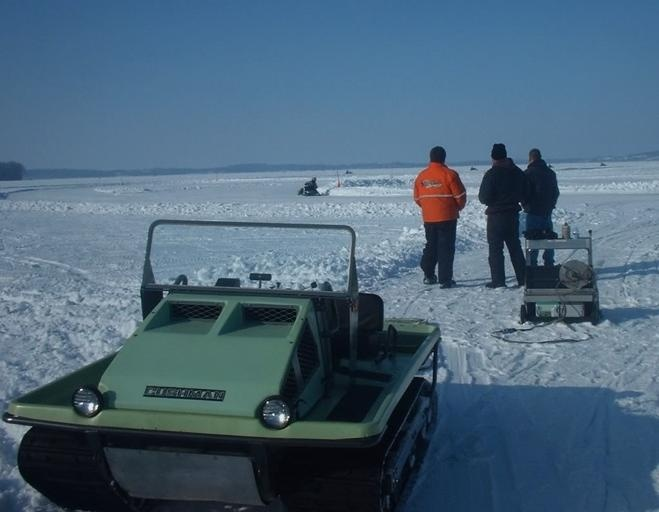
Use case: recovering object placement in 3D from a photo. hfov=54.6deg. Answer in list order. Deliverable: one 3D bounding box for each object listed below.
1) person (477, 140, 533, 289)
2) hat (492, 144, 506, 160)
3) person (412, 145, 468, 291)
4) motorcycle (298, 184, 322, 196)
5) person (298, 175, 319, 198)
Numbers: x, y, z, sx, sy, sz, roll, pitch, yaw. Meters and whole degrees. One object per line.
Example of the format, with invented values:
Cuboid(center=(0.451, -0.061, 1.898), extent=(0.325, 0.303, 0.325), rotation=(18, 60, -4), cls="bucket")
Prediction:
Cuboid(center=(2.761, -0.618, 10.209), extent=(0.764, 2.342, 0.464), rotation=(-2, 15, 1), cls="person")
Cuboid(center=(2.649, -1.628, 9.943), extent=(0.196, 0.249, 0.141), rotation=(7, 17, 30), cls="hat")
Cuboid(center=(1.825, -0.626, 10.551), extent=(0.803, 2.374, 0.795), rotation=(0, 15, 7), cls="person")
Cuboid(center=(-1.200, -3.903, 37.563), extent=(1.628, 0.634, 0.807), rotation=(11, 20, 42), cls="motorcycle")
Cuboid(center=(-1.254, -4.109, 38.279), extent=(0.785, 1.003, 2.355), rotation=(0, 6, 6), cls="person")
